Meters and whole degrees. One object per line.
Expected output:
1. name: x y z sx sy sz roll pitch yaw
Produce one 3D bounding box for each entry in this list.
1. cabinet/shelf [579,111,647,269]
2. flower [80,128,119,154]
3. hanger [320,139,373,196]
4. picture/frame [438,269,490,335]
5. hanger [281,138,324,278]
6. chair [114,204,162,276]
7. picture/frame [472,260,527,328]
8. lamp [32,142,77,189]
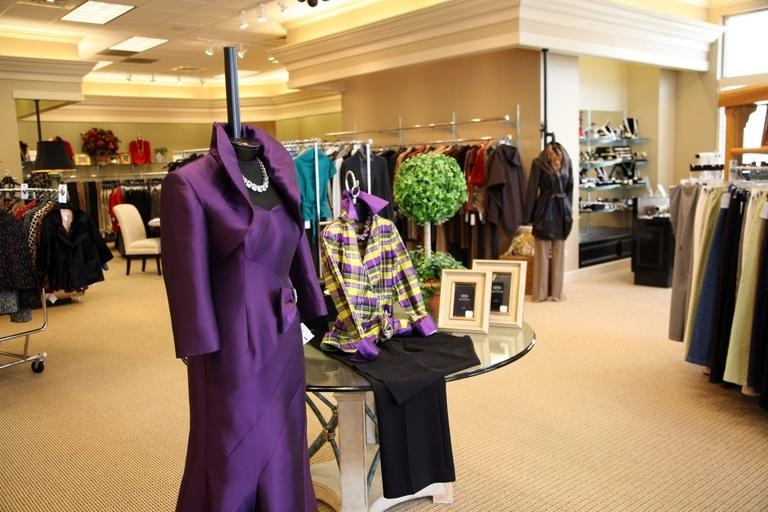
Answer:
1. cabinet/shelf: 3.656 -1.123 8.088 2.340 2.381 0.808 -7 8 -44
2. flower: -6.603 -2.636 11.726 0.637 0.482 0.645 -1 4 -26
3. hanger: -0.410 -1.083 6.168 0.613 0.576 1.586 -4 13 -6
4. picture/frame: 0.459 0.280 2.860 0.310 0.411 0.043 4 -18 10
5. hanger: -0.821 -0.545 5.922 0.445 1.529 0.592 1 12 16
6. chair: -4.211 -0.269 8.720 0.736 1.118 0.633 -1 1 -21
7. picture/frame: 0.653 0.230 2.881 0.337 0.425 0.044 2 -13 13
8. lamp: -4.934 -1.294 7.538 0.577 0.672 0.613 -9 -2 26
